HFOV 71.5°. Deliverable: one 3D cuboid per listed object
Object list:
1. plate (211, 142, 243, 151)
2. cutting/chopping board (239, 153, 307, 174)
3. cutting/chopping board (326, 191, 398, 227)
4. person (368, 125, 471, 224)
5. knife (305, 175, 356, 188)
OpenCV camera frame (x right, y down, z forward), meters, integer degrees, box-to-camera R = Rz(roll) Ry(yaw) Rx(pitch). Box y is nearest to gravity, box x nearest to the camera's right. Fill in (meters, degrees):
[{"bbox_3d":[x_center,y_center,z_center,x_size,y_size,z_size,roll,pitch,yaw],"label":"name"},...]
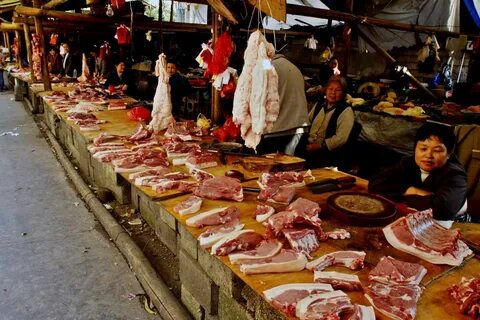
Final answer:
[{"bbox_3d":[-0.199,-0.211,5.424,0.451,0.097,0.425,-6,21,-22],"label":"plate"},{"bbox_3d":[0.504,0.041,5.109,0.985,0.173,0.462,-2,20,-11],"label":"cutting/chopping board"},{"bbox_3d":[1.415,0.575,3.907,0.773,0.181,0.527,7,20,11],"label":"cutting/chopping board"},{"bbox_3d":[2.275,0.103,4.110,0.947,1.065,0.676,20,27,37],"label":"person"},{"bbox_3d":[1.273,0.301,4.535,0.754,0.095,0.257,-3,21,-16],"label":"knife"}]
